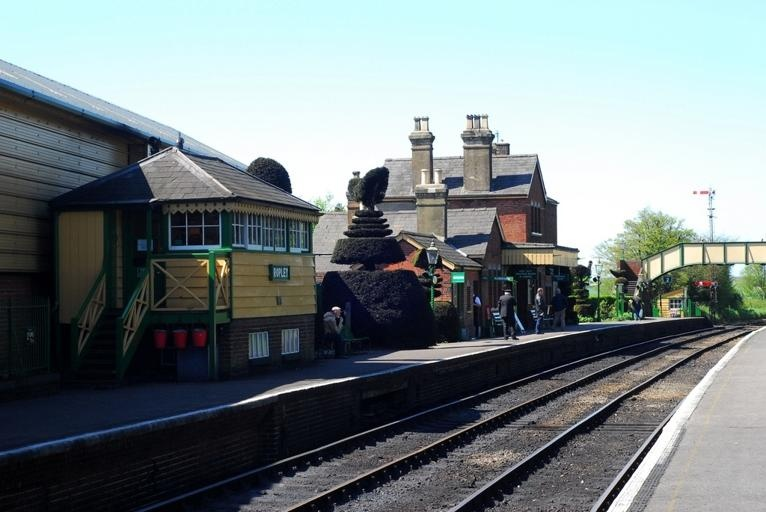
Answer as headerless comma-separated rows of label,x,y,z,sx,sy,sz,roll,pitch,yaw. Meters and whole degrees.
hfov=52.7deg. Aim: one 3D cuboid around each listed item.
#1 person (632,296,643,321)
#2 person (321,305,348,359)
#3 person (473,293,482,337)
person,18.929,3.690,57.382,0.626,1.914,1.281,-2,-3,21
person,-1.618,2.454,25.718,0.710,1.569,2.270,-1,-4,-3
person,4.642,2.796,37.574,0.398,2.117,1.591,-1,-3,8
